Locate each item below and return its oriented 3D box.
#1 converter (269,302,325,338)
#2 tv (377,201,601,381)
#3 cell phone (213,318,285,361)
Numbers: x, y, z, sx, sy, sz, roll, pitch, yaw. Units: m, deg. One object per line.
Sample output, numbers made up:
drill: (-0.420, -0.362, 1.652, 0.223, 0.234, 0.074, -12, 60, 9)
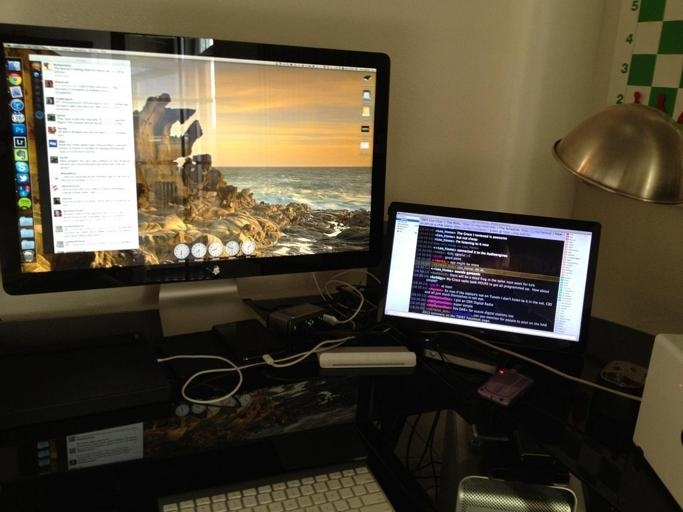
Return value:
converter: (-0.109, 0.154, 1.313, 0.098, 0.046, 0.139, 11, 14, 40)
tv: (0.342, 0.053, 1.399, 0.653, 0.442, 0.354, 13, 12, 13)
cell phone: (-0.209, 0.188, 1.202, 0.118, 0.020, 0.195, -6, 28, -34)
